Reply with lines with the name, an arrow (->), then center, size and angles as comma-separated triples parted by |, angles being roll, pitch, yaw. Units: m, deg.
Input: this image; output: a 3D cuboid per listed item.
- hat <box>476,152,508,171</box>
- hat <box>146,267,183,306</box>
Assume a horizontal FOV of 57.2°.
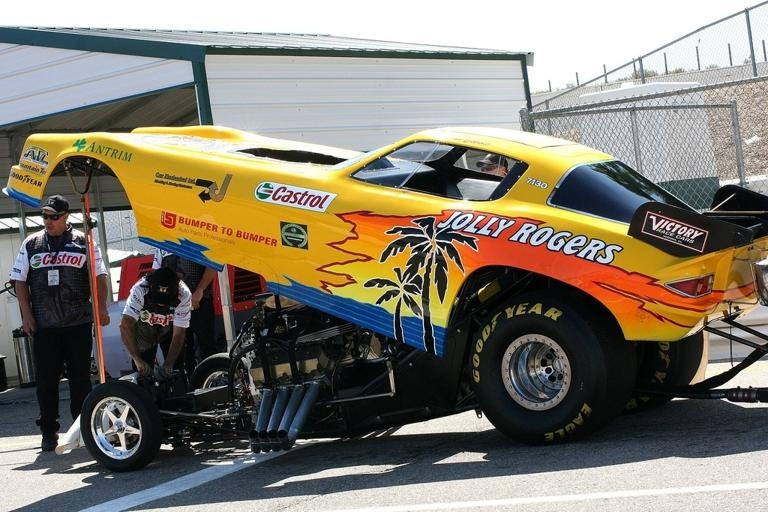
hat -> 1.037, -0.893, 6.768 | 0.281, 0.094, 0.161 | 6, -10, -22
hat -> -2.403, 0.354, 7.692 | 0.401, 0.230, 0.513 | 5, 7, -11
